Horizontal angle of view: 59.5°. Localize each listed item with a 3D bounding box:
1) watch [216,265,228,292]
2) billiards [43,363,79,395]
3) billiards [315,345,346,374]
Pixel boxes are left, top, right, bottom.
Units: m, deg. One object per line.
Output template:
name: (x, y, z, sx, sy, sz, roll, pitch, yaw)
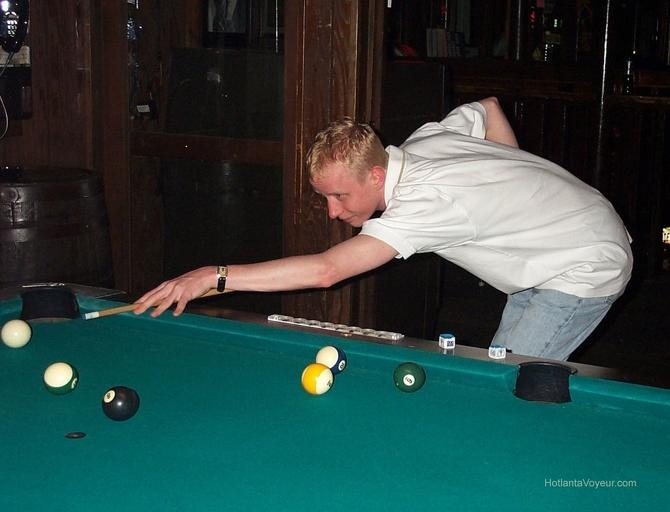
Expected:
watch: (-0.342, 0.075, 1.798, 0.042, 0.073, 0.067, 4, 20, 0)
billiards: (-0.653, 0.289, 1.387, 0.069, 0.058, 0.071, 22, 4, 32)
billiards: (-0.006, 0.269, 1.529, 0.068, 0.082, 0.069, -3, 28, -13)
